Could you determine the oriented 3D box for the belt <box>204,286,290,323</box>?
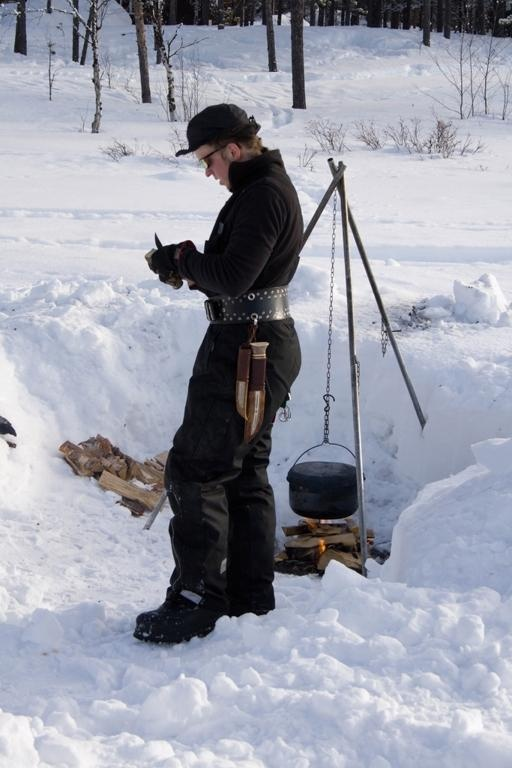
[{"bbox_3d":[-0.027,-0.326,2.777,0.365,0.142,0.221,5,17,15],"label":"belt"}]

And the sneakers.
[{"bbox_3d":[-0.153,0.795,2.834,0.563,0.206,0.192,-1,-1,-25],"label":"sneakers"}]

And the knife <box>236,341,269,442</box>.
[{"bbox_3d":[-0.007,0.030,2.634,0.140,0.341,0.080,-11,9,-12],"label":"knife"}]

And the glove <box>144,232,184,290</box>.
[{"bbox_3d":[-0.324,-0.429,2.727,0.124,0.192,0.107,13,27,27],"label":"glove"}]
